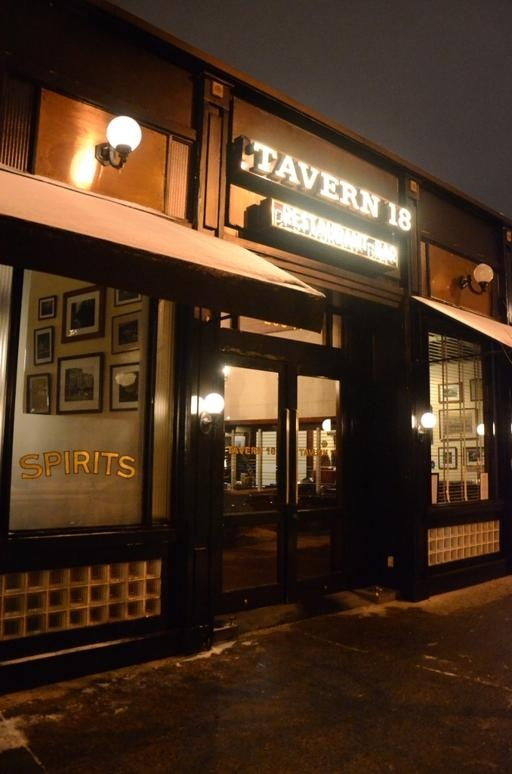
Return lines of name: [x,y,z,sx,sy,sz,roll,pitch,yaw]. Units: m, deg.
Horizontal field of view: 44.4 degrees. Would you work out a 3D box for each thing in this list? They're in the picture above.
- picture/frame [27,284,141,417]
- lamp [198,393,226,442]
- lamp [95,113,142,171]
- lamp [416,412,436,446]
picture/frame: [-1.269,-0.270,4.694,0.951,1.017,0.159,6,-9,-42]
lamp: [-0.358,0.234,5.202,0.132,0.333,0.275,-2,-7,17]
lamp: [-0.988,-1.752,4.608,0.247,0.492,0.431,4,-8,-30]
lamp: [1.980,0.489,7.264,0.159,0.386,0.647,-2,-7,19]
